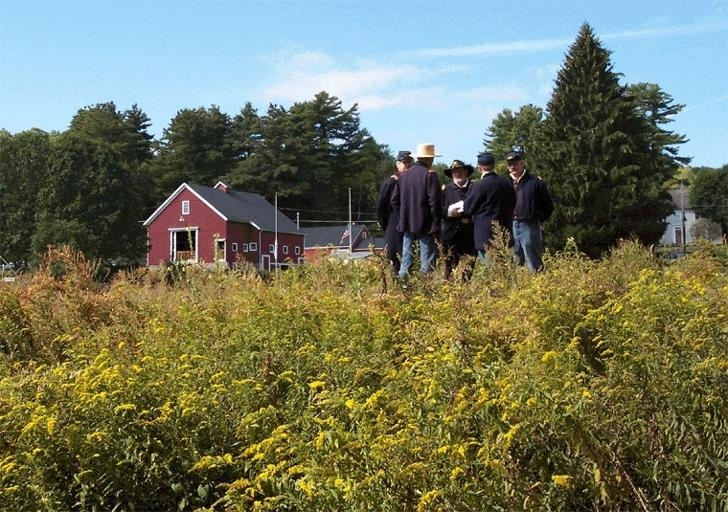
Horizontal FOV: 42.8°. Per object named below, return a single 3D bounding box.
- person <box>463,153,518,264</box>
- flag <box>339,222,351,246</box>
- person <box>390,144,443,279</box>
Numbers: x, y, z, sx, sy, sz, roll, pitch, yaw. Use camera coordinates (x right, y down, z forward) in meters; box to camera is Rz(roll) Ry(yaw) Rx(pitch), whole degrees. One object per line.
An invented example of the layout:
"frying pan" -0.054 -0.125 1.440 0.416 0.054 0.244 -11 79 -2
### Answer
"person" 1.759 -0.748 12.988 0.727 1.342 0.530 -1 3 8
"flag" -1.253 -1.305 60.301 0.241 0.432 2.223 2 47 -18
"person" 0.783 -0.657 13.364 0.703 1.825 1.497 -2 3 1
